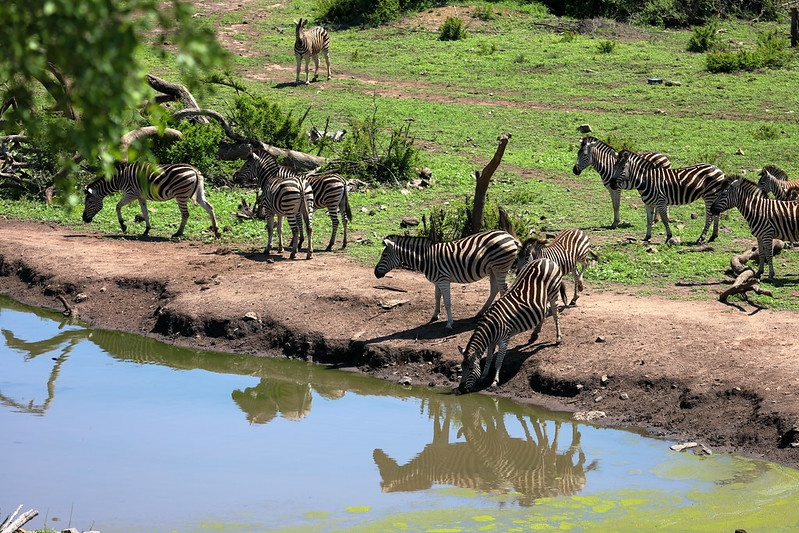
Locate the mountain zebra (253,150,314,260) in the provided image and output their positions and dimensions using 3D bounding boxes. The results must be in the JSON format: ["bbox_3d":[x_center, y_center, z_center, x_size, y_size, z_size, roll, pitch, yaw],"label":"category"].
[{"bbox_3d":[-2.679,-1.440,25.918,0.849,2.219,2.947,-2,9,-33],"label":"mountain zebra"}]

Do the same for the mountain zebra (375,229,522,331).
[{"bbox_3d":[0.996,0.201,22.476,2.927,1.776,0.780,-5,10,-3],"label":"mountain zebra"}]

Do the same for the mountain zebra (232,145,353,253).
[{"bbox_3d":[-2.360,-1.497,26.584,3.256,2.312,0.842,3,8,34],"label":"mountain zebra"}]

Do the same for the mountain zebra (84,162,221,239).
[{"bbox_3d":[-5.757,-1.567,26.986,3.365,1.661,0.879,-2,5,11],"label":"mountain zebra"}]

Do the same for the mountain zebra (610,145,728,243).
[{"bbox_3d":[6.177,-1.584,26.631,3.023,2.036,0.841,0,3,-13],"label":"mountain zebra"}]

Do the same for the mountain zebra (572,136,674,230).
[{"bbox_3d":[5.390,-2.062,27.418,2.773,1.977,0.716,3,6,36],"label":"mountain zebra"}]
